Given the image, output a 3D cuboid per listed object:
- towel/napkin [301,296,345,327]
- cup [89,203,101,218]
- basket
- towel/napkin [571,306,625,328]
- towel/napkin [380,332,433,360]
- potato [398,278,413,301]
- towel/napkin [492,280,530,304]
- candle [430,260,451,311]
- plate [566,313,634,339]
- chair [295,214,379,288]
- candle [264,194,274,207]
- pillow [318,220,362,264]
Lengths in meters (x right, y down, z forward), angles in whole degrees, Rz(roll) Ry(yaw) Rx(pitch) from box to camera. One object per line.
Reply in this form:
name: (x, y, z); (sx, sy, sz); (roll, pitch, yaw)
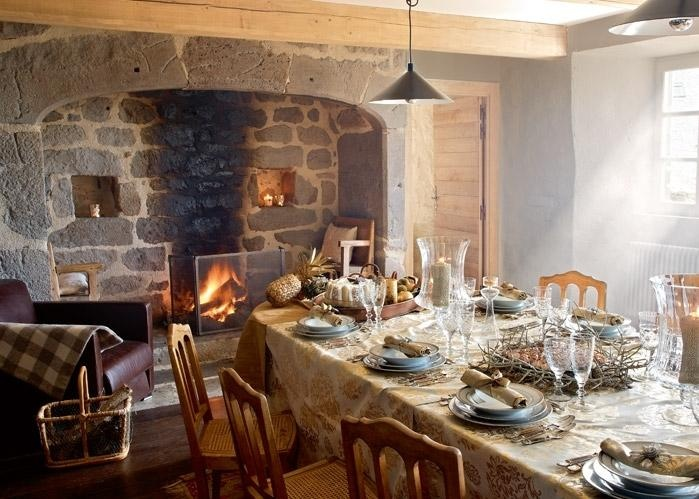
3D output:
towel/napkin: (-0.117, 0.328, 2.721); (0.112, 0.093, 0.281); (15, -5, -29)
cup: (-2.511, -0.384, 5.123); (0.099, 0.127, 0.176); (-7, 14, -25)
basket: (-1.561, 1.020, 3.408); (0.717, 0.683, 0.462); (1, 10, -19)
towel/napkin: (1.208, 0.326, 2.518); (0.170, 0.051, 0.172); (-1, 4, -40)
towel/napkin: (0.246, 0.425, 2.316); (0.077, 0.062, 0.196); (-13, 15, -32)
potato: (0.325, 0.241, 3.053); (0.051, 0.068, 0.120); (-46, 13, 37)
towel/napkin: (0.937, 0.245, 3.023); (0.137, 0.060, 0.154); (-2, 3, -8)
candle: (0.456, 0.190, 2.629); (0.114, 0.248, 0.112); (5, -19, -4)
plate: (1.202, 0.362, 2.467); (0.238, 0.054, 0.235); (4, 12, 26)
chair: (-0.160, 0.156, 5.554); (0.620, 0.926, 0.701); (-5, 7, -44)
candle: (-0.917, -0.564, 5.903); (0.104, 0.112, 0.180); (-1, 12, -1)
pillow: (-0.088, -0.075, 5.515); (0.174, 0.338, 0.493); (-4, 4, -29)
